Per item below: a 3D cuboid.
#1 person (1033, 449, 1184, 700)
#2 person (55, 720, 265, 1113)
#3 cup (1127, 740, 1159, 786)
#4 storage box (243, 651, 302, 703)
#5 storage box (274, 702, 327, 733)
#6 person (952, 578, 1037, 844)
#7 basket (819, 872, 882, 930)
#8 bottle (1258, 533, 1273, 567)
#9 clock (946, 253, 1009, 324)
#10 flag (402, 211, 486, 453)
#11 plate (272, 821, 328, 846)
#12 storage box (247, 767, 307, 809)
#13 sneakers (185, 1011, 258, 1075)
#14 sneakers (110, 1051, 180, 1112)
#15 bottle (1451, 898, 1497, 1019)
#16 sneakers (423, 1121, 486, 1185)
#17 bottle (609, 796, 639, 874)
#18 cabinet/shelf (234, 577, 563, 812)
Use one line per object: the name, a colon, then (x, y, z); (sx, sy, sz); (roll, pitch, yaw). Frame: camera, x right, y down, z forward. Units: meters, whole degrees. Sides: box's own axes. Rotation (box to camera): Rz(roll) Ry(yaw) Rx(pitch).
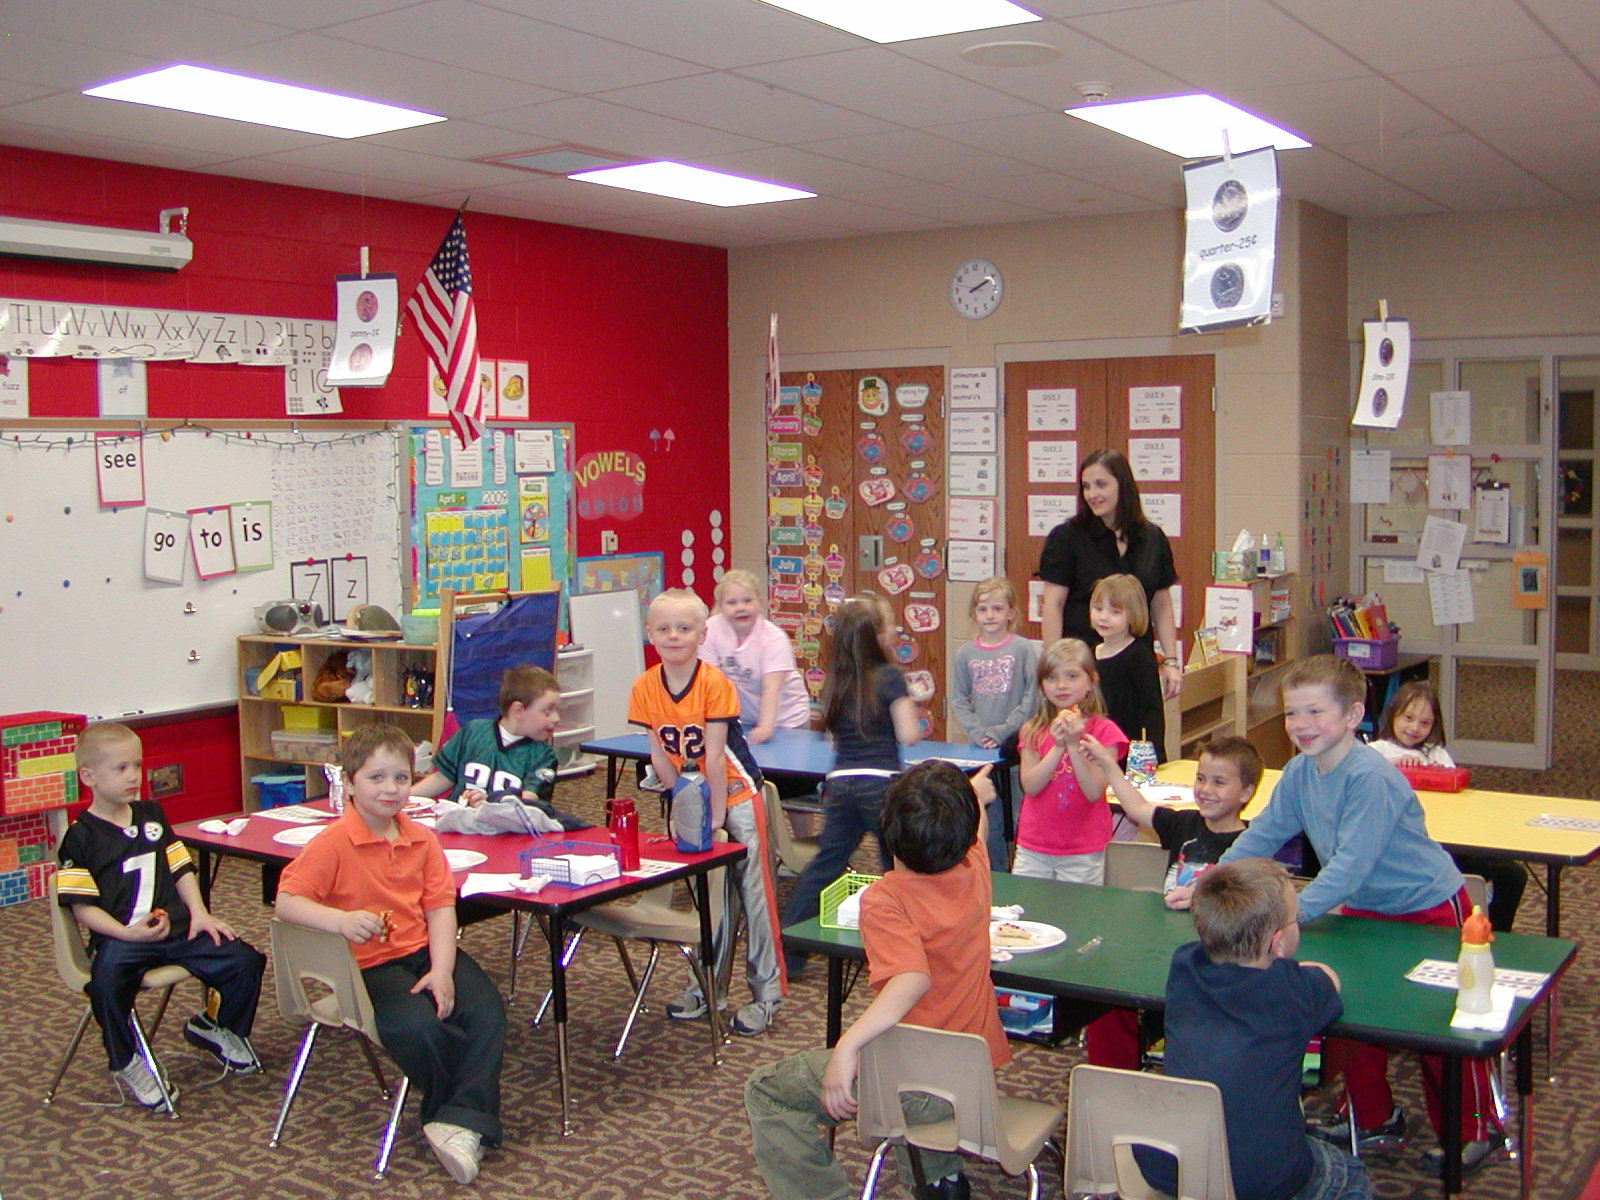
person: (1.542, 0.151, 6.380); (0.702, 1.662, 0.399); (-2, 11, 3)
person: (-2.316, 1.123, 4.620); (0.588, 1.359, 0.466); (2, 7, 20)
cup: (1.461, 0.690, 5.455); (0.144, 0.250, 0.158); (-2, 1, 0)
storage box: (-3.134, 0.454, 7.641); (0.309, 0.139, 0.252); (0, 4, 31)
storage box: (-2.991, 0.709, 7.720); (0.162, 0.147, 0.201); (0, -3, -14)
person: (0.910, 0.652, 6.262); (0.401, 1.466, 0.403); (3, 16, 11)
basket: (0.136, 0.920, 3.939); (0.158, 0.075, 0.224); (0, 4, 12)
bottle: (3.182, -0.323, 8.745); (0.092, 0.231, 0.210); (2, 7, 21)
clock: (1.357, -2.355, 9.661); (0.495, 0.518, 0.052); (8, 7, 36)
flag: (-2.087, -1.599, 7.655); (0.281, 1.310, 0.462); (-7, 9, -42)
plate: (-1.928, 0.896, 4.916); (0.165, 0.034, 0.131); (5, 8, 32)
storage box: (-3.130, 1.127, 7.674); (0.330, 0.248, 0.288); (-2, -1, 45)
sneakers: (-2.183, 1.669, 4.834); (0.294, 0.130, 0.100); (27, 41, 13)
sneakers: (-2.363, 1.706, 4.640); (0.321, 0.151, 0.124); (6, 11, 35)
bottle: (1.713, 0.901, 3.246); (0.081, 0.223, 0.278); (3, 8, 30)
sneakers: (-1.100, 1.766, 4.159); (0.192, 0.176, 0.210); (-5, 8, -29)
bottle: (-0.622, 0.826, 4.589); (0.096, 0.234, 0.294); (-2, 7, -7)
cabinet/shelf: (-2.253, 0.509, 6.876); (1.367, 1.376, 0.445); (-1, -1, 16)
